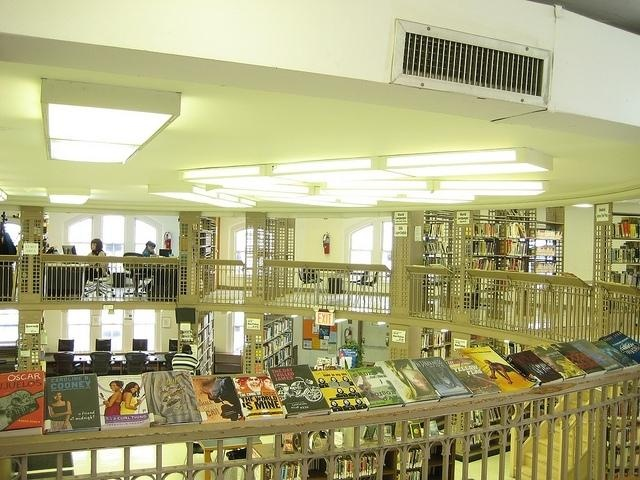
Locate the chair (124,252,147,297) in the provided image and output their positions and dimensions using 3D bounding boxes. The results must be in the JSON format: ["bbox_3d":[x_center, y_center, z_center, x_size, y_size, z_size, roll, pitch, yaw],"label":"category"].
[{"bbox_3d":[-3.976,0.720,11.232,0.449,0.817,1.173,2,4,-21],"label":"chair"}]

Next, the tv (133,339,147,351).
[{"bbox_3d":[-4.605,2.677,13.431,0.320,0.281,0.042,0,1,-3],"label":"tv"}]

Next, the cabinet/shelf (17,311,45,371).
[{"bbox_3d":[-5.753,1.977,10.443,0.423,1.175,0.505,1,4,-30],"label":"cabinet/shelf"}]

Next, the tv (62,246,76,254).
[{"bbox_3d":[-5.816,0.234,12.178,0.265,0.215,1.068,1,4,-27],"label":"tv"}]

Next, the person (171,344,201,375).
[{"bbox_3d":[-2.650,2.388,10.371,0.561,0.683,0.510,4,-2,12],"label":"person"}]

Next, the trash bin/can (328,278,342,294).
[{"bbox_3d":[0.300,0.962,10.997,0.337,0.419,0.344,1,-6,-2],"label":"trash bin/can"}]

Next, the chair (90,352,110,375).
[{"bbox_3d":[-5.016,2.836,12.026,0.412,0.645,0.691,2,4,-23],"label":"chair"}]

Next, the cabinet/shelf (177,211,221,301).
[{"bbox_3d":[-2.644,0.380,11.371,0.565,1.517,1.695,-1,-14,-1],"label":"cabinet/shelf"}]

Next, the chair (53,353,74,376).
[{"bbox_3d":[-5.852,2.809,12.020,0.408,0.594,0.493,1,4,-26],"label":"chair"}]

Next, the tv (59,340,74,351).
[{"bbox_3d":[-6.312,2.611,13.061,0.329,0.270,0.065,0,-1,6],"label":"tv"}]

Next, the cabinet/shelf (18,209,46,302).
[{"bbox_3d":[-5.778,0.280,10.506,0.433,1.894,0.399,1,4,-27],"label":"cabinet/shelf"}]

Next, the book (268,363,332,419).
[{"bbox_3d":[-0.123,0.908,3.135,0.382,0.055,0.493,-8,24,-14],"label":"book"}]

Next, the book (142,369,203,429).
[{"bbox_3d":[-0.827,0.877,2.961,0.302,0.271,0.279,0,-43,-13],"label":"book"}]

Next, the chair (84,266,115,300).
[{"bbox_3d":[-4.713,0.896,11.129,0.687,0.708,0.642,1,-2,-28],"label":"chair"}]

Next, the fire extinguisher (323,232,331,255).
[{"bbox_3d":[0.203,0.122,15.601,0.244,0.636,0.133,3,4,0],"label":"fire extinguisher"}]

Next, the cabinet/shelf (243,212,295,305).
[{"bbox_3d":[-1.102,0.350,11.026,0.962,1.799,1.056,3,4,-8],"label":"cabinet/shelf"}]

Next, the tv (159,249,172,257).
[{"bbox_3d":[-3.908,0.328,13.231,0.168,0.200,0.310,2,1,19],"label":"tv"}]

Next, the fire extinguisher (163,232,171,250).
[{"bbox_3d":[-4.577,0.026,15.841,0.233,0.476,0.282,2,4,-16],"label":"fire extinguisher"}]

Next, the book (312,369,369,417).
[{"bbox_3d":[0.133,0.904,3.203,0.224,0.218,0.231,-2,22,-21],"label":"book"}]

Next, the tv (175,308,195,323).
[{"bbox_3d":[-2.773,1.552,10.841,0.417,0.338,0.070,3,4,2],"label":"tv"}]
